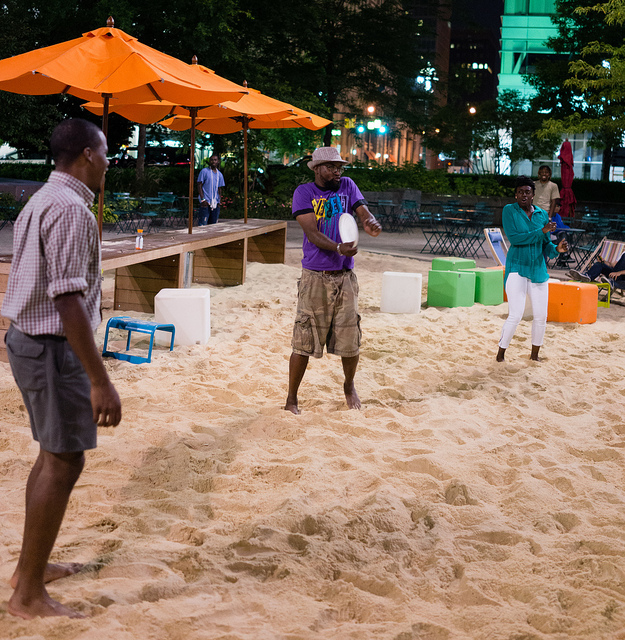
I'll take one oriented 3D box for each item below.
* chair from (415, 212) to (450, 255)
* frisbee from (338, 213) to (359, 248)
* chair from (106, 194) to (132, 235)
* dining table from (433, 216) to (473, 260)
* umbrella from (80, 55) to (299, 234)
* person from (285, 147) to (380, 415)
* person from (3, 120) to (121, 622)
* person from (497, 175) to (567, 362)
[{"bbox_3d":[3.266,-2.304,18.778,1.058,1.169,1.031,-3,6,-21],"label":"chair"},{"bbox_3d":[0.233,-0.598,4.671,0.048,0.203,0.211,-1,8,18],"label":"frisbee"},{"bbox_3d":[-4.967,-2.553,18.026,0.496,0.633,0.422,2,5,-28],"label":"chair"},{"bbox_3d":[3.738,-2.237,18.271,0.990,0.897,0.757,7,27,-7],"label":"dining table"},{"bbox_3d":[-1.706,-2.923,10.169,1.904,1.482,1.987,21,29,28],"label":"umbrella"},{"bbox_3d":[0.113,-0.236,4.889,0.597,1.888,0.749,4,7,0],"label":"person"},{"bbox_3d":[-0.932,0.184,2.622,0.411,1.840,0.507,2,7,-17],"label":"person"},{"bbox_3d":[2.033,-0.447,6.612,0.542,1.760,0.577,7,7,24],"label":"person"}]
